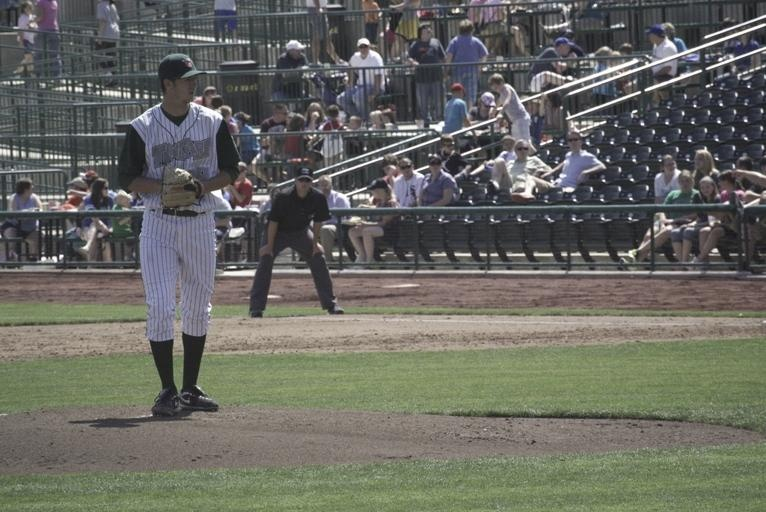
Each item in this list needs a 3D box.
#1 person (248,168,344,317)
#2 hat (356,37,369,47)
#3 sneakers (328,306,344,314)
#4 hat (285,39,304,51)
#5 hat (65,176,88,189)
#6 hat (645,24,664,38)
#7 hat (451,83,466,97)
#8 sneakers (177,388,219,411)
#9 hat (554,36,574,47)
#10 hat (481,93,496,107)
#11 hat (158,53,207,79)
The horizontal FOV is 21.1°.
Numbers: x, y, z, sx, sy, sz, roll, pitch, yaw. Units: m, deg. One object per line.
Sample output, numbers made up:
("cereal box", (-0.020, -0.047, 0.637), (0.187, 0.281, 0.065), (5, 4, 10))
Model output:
("person", (-1.517, -0.270, 34.993), (1.526, 2.540, 0.729), (-1, 6, -3))
("hat", (-0.437, -4.664, 44.119), (0.279, 0.199, 0.398), (-2, -14, 2))
("sneakers", (-0.802, 0.929, 35.066), (0.283, 0.113, 0.110), (-8, -7, 34))
("hat", (-2.021, -4.704, 45.055), (0.473, 0.195, 0.326), (-2, 6, 12))
("hat", (-6.125, -1.480, 41.246), (0.478, 0.213, 0.342), (17, -8, -30))
("hat", (5.687, -4.726, 42.622), (0.275, 0.185, 0.356), (-9, 22, -30))
("hat", (1.539, -3.466, 42.074), (0.217, 0.156, 0.282), (9, 19, 27))
("sneakers", (-2.715, 2.105, 29.570), (0.687, 0.281, 0.256), (2, 2, 14))
("hat", (3.861, -4.698, 43.753), (0.358, 0.330, 0.276), (2, 15, 2))
("hat", (2.162, -3.238, 41.889), (0.234, 0.148, 0.305), (3, 8, -31))
("hat", (-2.974, -2.775, 29.661), (0.542, 0.267, 0.375), (-9, 12, 4))
